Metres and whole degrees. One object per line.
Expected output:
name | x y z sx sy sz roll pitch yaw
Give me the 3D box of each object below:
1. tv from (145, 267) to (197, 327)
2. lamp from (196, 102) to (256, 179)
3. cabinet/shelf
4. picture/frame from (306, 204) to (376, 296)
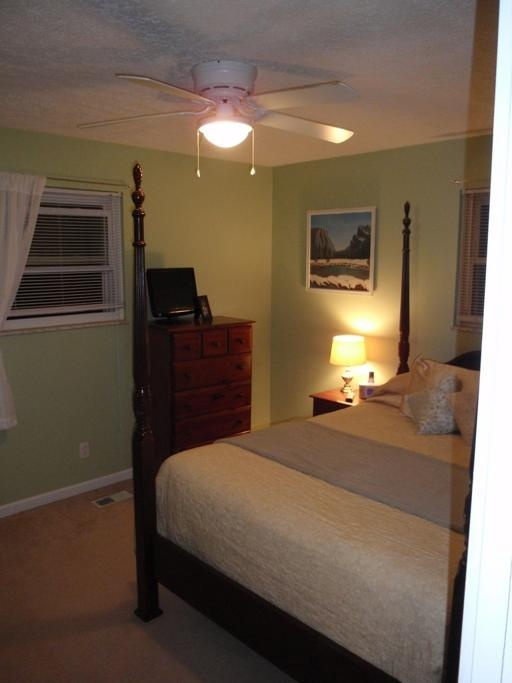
tv | -0.559 -0.292 3.526 0.371 0.359 0.059 -13 9 -43
lamp | -0.106 -0.702 1.945 0.193 0.278 0.209 0 5 11
cabinet/shelf | -0.364 0.269 3.330 0.709 1.011 0.430 -7 9 -39
picture/frame | 0.605 -0.651 3.772 0.028 0.610 0.547 -12 18 -35
